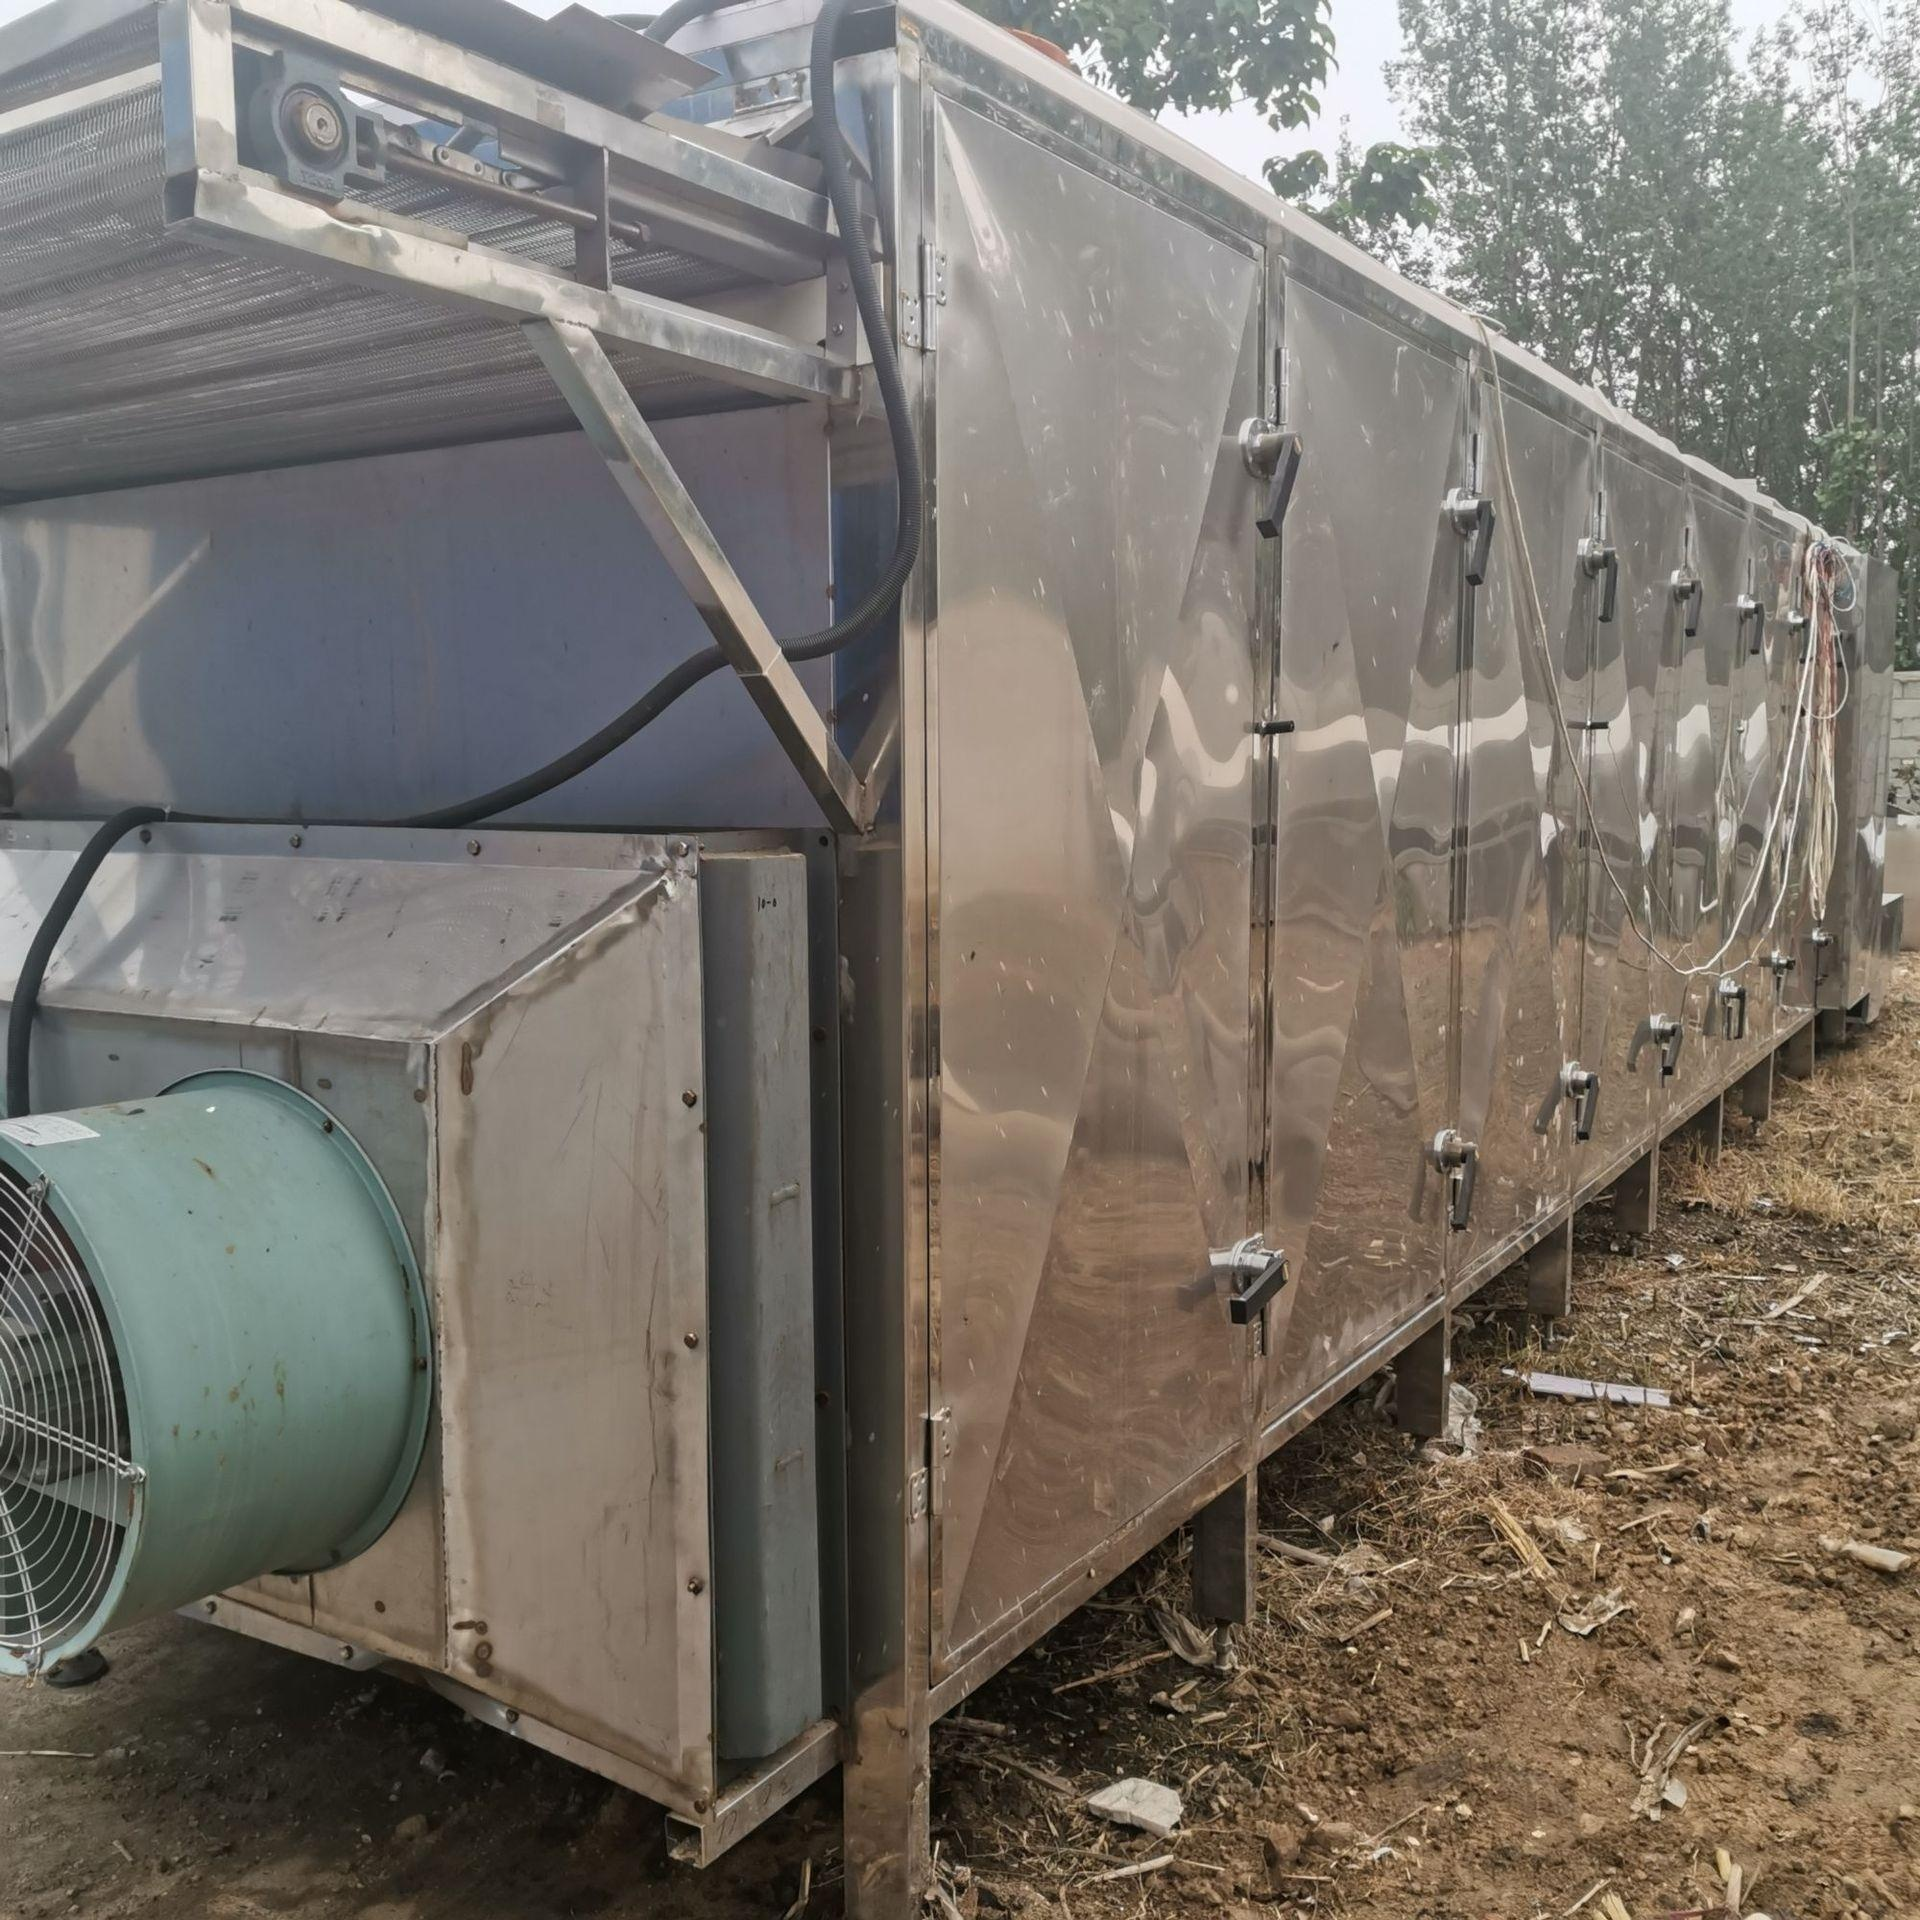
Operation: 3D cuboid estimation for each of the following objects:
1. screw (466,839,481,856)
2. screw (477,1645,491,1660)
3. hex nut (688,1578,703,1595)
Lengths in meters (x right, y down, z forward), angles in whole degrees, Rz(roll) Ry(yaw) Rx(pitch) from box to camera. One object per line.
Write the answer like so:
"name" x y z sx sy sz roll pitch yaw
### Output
"screw" -0.670 -0.157 2.795 0.012 0.021 0.034 -5 11 -37
"screw" -0.631 0.919 2.684 0.018 0.020 0.004 38 9 3
"hex nut" -0.339 0.803 2.594 0.017 0.025 0.006 5 -1 27
